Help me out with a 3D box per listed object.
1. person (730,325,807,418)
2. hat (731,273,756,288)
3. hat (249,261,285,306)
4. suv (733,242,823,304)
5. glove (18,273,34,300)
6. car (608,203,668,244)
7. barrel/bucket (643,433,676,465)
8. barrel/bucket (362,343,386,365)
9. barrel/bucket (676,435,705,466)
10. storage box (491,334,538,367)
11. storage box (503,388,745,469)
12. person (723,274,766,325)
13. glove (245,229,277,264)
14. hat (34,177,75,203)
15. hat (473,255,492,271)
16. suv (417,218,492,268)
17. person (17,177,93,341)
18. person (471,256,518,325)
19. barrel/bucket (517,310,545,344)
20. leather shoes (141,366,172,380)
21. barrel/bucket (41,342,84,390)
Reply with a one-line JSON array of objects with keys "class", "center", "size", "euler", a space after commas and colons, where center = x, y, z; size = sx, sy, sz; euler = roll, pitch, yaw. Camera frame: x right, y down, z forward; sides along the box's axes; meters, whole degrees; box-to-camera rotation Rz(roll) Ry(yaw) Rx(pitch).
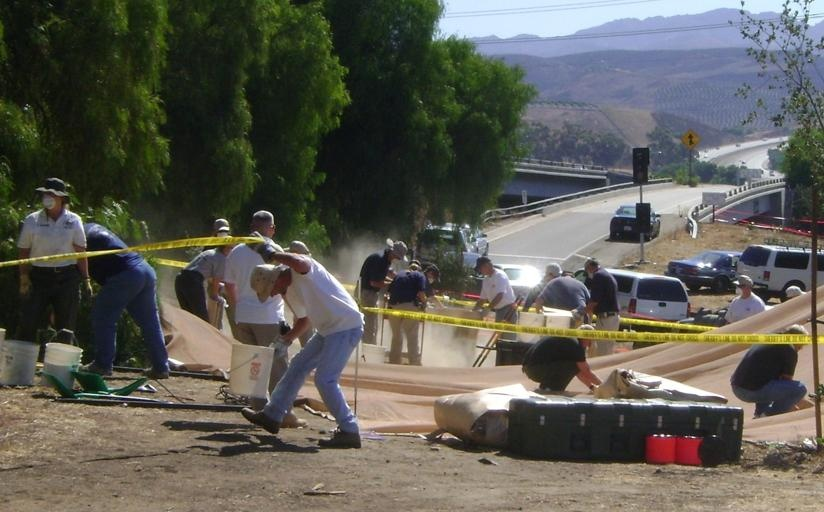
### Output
[{"class": "person", "center": [6.663, 2.328, 26.886], "size": [1.380, 1.166, 0.332], "euler": [1, 0, 16]}, {"class": "hat", "center": [8.775, 0.635, 37.965], "size": [0.637, 0.272, 0.465], "euler": [9, 5, -2]}, {"class": "hat", "center": [-2.538, 0.441, 24.875], "size": [0.346, 0.664, 0.473], "euler": [20, 4, -16]}, {"class": "suv", "center": [11.063, 0.401, 44.129], "size": [3.438, 1.912, 1.973], "euler": [-7, 10, -20]}, {"class": "glove", "center": [-6.990, 0.510, 25.951], "size": [0.093, 0.376, 0.223], "euler": [3, 5, 37]}, {"class": "car", "center": [8.511, -1.286, 56.924], "size": [1.253, 0.935, 2.673], "euler": [2, 9, 17]}, {"class": "barrel/bucket", "center": [4.403, 3.410, 25.521], "size": [0.497, 0.440, 0.497], "euler": [0, -2, 0]}, {"class": "barrel/bucket", "center": [-0.843, 2.031, 29.843], "size": [0.390, 0.318, 0.413], "euler": [1, -3, 0]}, {"class": "barrel/bucket", "center": [4.923, 3.429, 25.523], "size": [0.464, 0.467, 0.471], "euler": [2, -1, 0]}, {"class": "storage box", "center": [2.078, 1.998, 29.747], "size": [0.645, 0.585, 0.518], "euler": [2, 0, -43]}, {"class": "storage box", "center": [3.619, 3.108, 25.448], "size": [3.896, 0.894, 0.353], "euler": [1, 0, 2]}, {"class": "person", "center": [8.064, 1.037, 34.740], "size": [0.449, 0.820, 0.840], "euler": [9, -14, -3]}, {"class": "glove", "center": [-2.649, -0.109, 24.981], "size": [0.576, 0.213, 0.439], "euler": [36, 9, 4]}, {"class": "hat", "center": [-6.699, -1.222, 26.760], "size": [0.469, 0.270, 0.409], "euler": [24, 3, -12]}, {"class": "hat", "center": [1.484, 0.186, 30.993], "size": [0.363, 0.232, 0.271], "euler": [-5, 24, 29]}, {"class": "suv", "center": [1.240, -0.414, 43.994], "size": [0.974, 0.994, 2.838], "euler": [1, 7, 28]}, {"class": "person", "center": [-6.523, 0.076, 26.143], "size": [1.266, 2.850, 0.909], "euler": [1, 0, -15]}, {"class": "person", "center": [1.835, 0.719, 31.354], "size": [0.874, 1.192, 2.032], "euler": [1, 0, 3]}, {"class": "barrel/bucket", "center": [2.414, 1.447, 29.056], "size": [0.587, 0.616, 0.322], "euler": [5, 0, 16]}, {"class": "leather shoes", "center": [-4.718, 2.165, 26.482], "size": [0.493, 0.227, 0.187], "euler": [12, 4, -1]}, {"class": "barrel/bucket", "center": [-6.270, 1.945, 25.779], "size": [0.732, 0.813, 0.735], "euler": [10, 7, -1]}]
